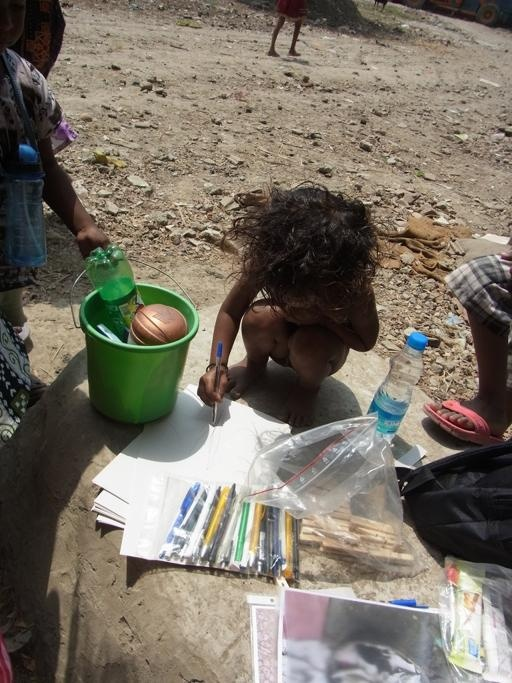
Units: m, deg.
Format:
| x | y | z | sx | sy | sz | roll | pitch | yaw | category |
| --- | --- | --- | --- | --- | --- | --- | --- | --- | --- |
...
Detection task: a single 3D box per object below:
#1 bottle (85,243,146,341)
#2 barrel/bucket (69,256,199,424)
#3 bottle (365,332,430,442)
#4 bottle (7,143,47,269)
| x | y | z | sx | sy | sz | roll | pitch | yaw | category |
| --- | --- | --- | --- | --- | --- | --- | --- | --- | --- |
| -0.414 | -0.148 | 1.795 | 0.170 | 0.260 | 0.147 | 9 | 23 | -4 | bottle |
| -0.369 | 0.017 | 1.801 | 0.374 | 0.437 | 0.526 | -4 | 31 | -13 | barrel/bucket |
| 0.445 | 0.138 | 1.904 | 0.153 | 0.433 | 0.157 | 7 | 36 | -5 | bottle |
| -0.647 | -0.377 | 1.681 | 0.096 | 0.309 | 0.175 | -13 | 33 | -25 | bottle |
